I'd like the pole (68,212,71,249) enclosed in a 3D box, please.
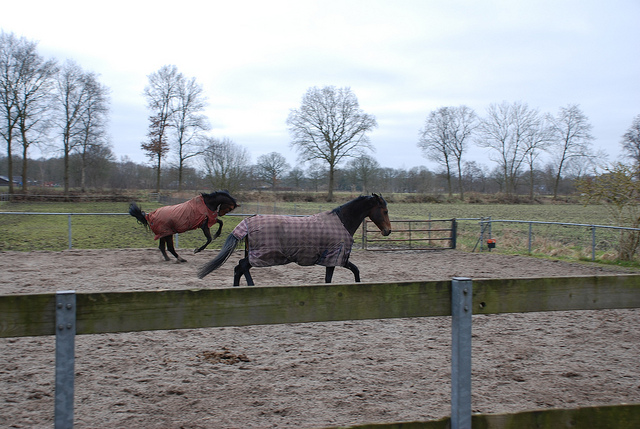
[{"bbox_3d":[-6.237,0.517,15.338,0.045,0.839,0.381,-3,1,-24],"label":"pole"}]

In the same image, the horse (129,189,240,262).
[{"bbox_3d":[-2.968,0.230,13.727,2.550,1.165,0.667,-12,15,-29],"label":"horse"}]

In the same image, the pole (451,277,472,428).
[{"bbox_3d":[1.470,1.450,6.369,0.281,1.421,0.091,-3,0,8],"label":"pole"}]

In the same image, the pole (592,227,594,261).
[{"bbox_3d":[6.331,0.710,14.229,0.057,0.669,0.422,-3,0,24],"label":"pole"}]

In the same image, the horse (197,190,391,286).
[{"bbox_3d":[-0.465,0.488,10.258,3.577,1.181,0.669,-2,2,-17],"label":"horse"}]
